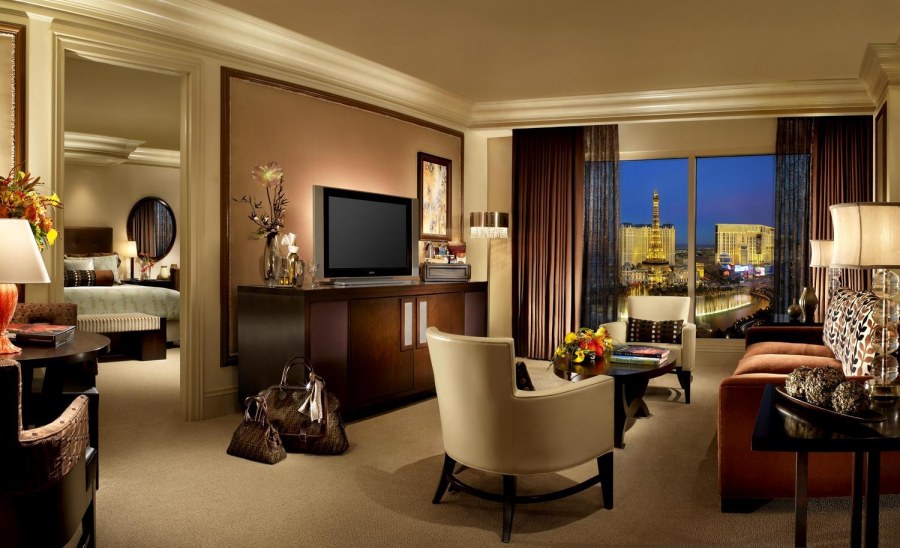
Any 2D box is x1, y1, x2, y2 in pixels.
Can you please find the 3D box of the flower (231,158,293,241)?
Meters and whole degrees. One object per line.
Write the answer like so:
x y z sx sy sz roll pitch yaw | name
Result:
-1.821 -0.748 5.985 0.551 0.676 0.246 -4 10 -28 | flower

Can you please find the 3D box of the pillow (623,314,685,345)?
2.295 0.640 6.853 0.604 0.274 0.149 5 10 24 | pillow

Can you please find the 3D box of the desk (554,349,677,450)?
1.496 1.026 5.521 0.880 0.453 0.913 -2 2 23 | desk

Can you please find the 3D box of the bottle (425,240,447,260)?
-0.155 -0.307 7.640 0.230 0.261 0.060 1 -22 4 | bottle

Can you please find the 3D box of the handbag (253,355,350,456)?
-1.273 1.110 5.188 0.811 0.740 0.415 1 5 8 | handbag

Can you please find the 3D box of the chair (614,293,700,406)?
2.314 0.808 6.859 0.794 1.110 0.784 0 -4 24 | chair

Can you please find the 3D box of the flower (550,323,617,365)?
1.256 0.658 5.639 0.499 0.265 0.545 -14 9 -24 | flower

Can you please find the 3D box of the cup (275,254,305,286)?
-1.506 -0.040 5.744 0.255 0.315 0.138 -2 9 -16 | cup

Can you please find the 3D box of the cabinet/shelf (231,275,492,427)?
-0.723 0.736 6.782 0.937 1.259 3.119 1 1 36 | cabinet/shelf

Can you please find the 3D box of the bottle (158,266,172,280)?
-5.195 -0.012 11.162 0.279 0.274 0.282 1 -2 -8 | bottle

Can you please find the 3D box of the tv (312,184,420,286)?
-0.848 -0.350 6.343 1.236 0.910 0.123 1 -4 -41 | tv

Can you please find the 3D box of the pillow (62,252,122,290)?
-5.495 -0.044 9.368 0.507 0.183 0.520 3 31 -23 | pillow

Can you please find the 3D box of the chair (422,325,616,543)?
0.469 0.909 4.534 1.305 1.554 1.358 -1 1 -39 | chair

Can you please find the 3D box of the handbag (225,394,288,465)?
-1.571 1.299 5.047 0.486 0.449 0.220 -2 -6 31 | handbag

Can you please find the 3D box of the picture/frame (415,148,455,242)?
-0.154 -0.967 7.724 0.133 1.107 0.698 6 10 34 | picture/frame

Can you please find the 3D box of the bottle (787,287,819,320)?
4.213 0.342 7.264 0.262 0.495 0.405 4 2 16 | bottle
